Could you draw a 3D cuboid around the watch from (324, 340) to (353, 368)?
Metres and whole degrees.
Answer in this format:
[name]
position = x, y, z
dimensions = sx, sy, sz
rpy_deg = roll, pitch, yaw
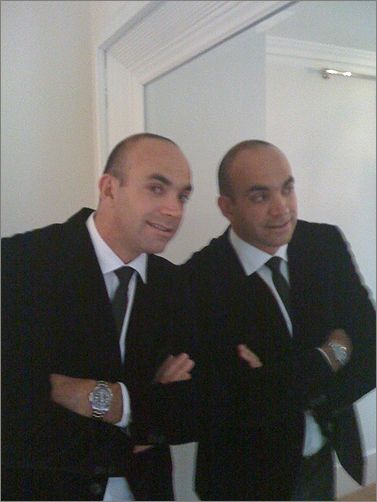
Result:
[watch]
position = 0.518, 0.354, 1.764
dimensions = 0.097, 0.079, 0.073
rpy_deg = 32, -12, -22

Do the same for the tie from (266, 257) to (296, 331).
[tie]
position = 0.317, 0.143, 1.745
dimensions = 0.059, 0.270, 0.033
rpy_deg = -10, -2, 0
